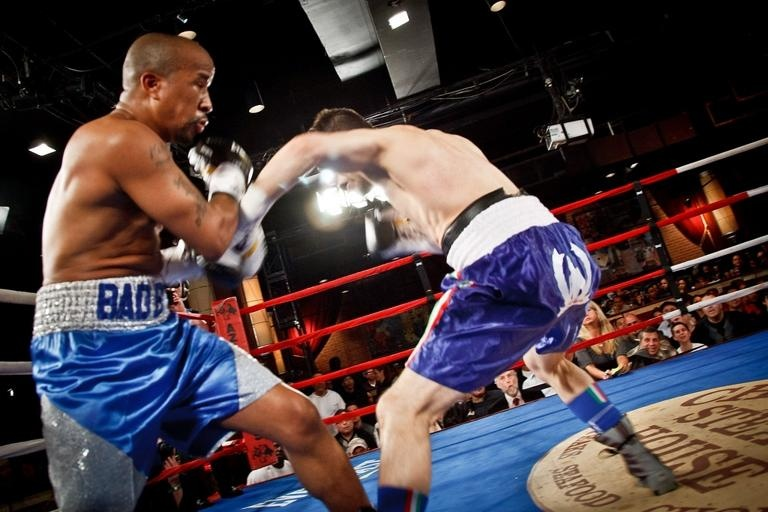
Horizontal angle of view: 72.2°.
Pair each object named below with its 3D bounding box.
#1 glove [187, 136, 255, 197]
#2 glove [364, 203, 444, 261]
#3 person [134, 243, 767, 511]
[{"bbox_3d":[-0.853,-0.422,2.729,0.376,0.308,0.162,-73,6,-61],"label":"glove"},{"bbox_3d":[0.124,-0.142,3.017,0.427,0.182,0.311,8,0,42],"label":"glove"},{"bbox_3d":[0.499,0.826,3.647,3.434,0.729,0.470,-14,-29,-10],"label":"person"}]
